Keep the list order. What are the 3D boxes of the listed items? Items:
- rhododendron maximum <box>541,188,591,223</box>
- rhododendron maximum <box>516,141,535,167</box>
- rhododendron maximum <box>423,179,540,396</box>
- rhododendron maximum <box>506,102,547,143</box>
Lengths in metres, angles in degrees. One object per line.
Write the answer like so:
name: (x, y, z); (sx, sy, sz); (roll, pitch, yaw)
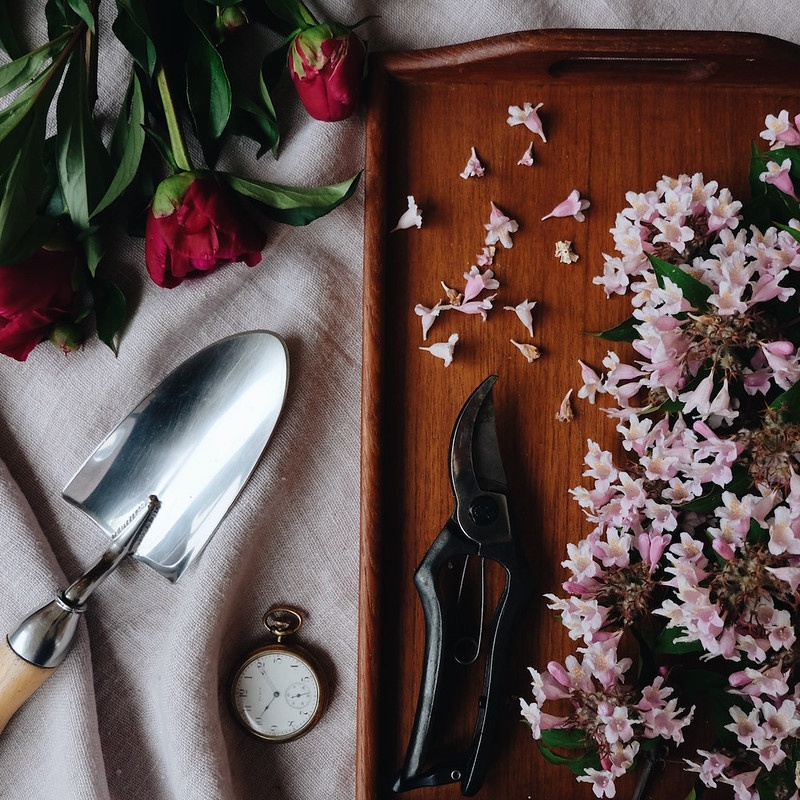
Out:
rhododendron maximum: (0.137, -0.158, 0.860); (0.034, 0.020, 0.022); (-15, 94, 20)
rhododendron maximum: (0.104, -0.201, 0.860); (0.011, 0.007, 0.019); (19, 105, 12)
rhododendron maximum: (0.059, -0.094, 0.807); (0.036, 0.099, 0.131); (-8, -78, -83)
rhododendron maximum: (0.105, -0.232, 0.860); (0.026, 0.013, 0.034); (-36, 73, 1)
